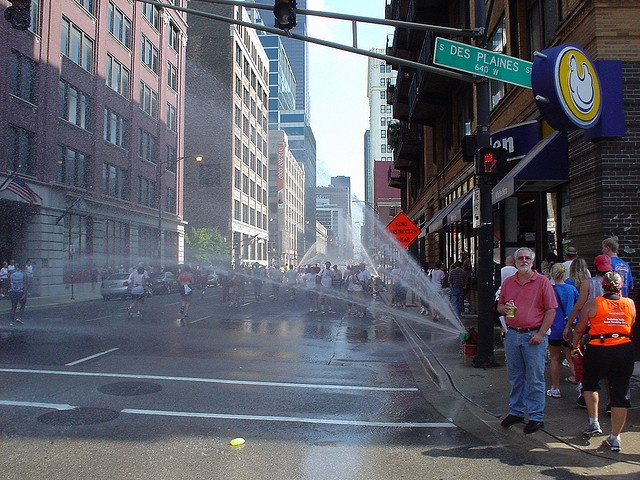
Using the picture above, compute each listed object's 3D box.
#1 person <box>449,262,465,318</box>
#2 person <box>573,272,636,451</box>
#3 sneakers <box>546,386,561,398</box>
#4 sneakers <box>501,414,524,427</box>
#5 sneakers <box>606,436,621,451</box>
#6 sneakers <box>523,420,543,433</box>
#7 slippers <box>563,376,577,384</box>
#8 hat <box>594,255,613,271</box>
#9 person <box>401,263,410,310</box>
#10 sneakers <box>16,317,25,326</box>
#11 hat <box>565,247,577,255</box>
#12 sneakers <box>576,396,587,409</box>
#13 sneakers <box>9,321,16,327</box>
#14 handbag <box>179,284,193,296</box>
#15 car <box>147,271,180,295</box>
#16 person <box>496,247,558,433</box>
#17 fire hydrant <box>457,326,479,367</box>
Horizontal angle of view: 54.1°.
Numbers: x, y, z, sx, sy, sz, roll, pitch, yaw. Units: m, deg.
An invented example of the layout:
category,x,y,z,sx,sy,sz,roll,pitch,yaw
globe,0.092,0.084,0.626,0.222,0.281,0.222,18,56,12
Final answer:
category,x,y,z,sx,sy,sz,roll,pitch,yaw
person,4.420,1.598,20.110,0.538,1.825,0.589,1,4,8
person,4.175,1.723,9.127,0.698,2.467,0.662,2,4,23
sneakers,4.075,2.646,10.953,0.111,0.128,0.277,0,2,0
sneakers,2.954,2.774,9.649,0.450,0.190,0.149,3,-7,-28
sneakers,4.192,2.863,8.965,0.205,0.213,0.253,2,4,23
sneakers,3.237,2.788,9.461,0.384,0.196,0.131,-1,4,-25
slippers,4.710,2.620,11.810,0.235,0.113,0.096,0,-3,26
hat,4.461,0.386,9.863,0.226,0.271,0.526,2,4,23
person,3.579,2.131,26.556,0.271,1.599,0.896,1,4,8
sneakers,-9.219,2.525,19.336,0.352,0.109,0.204,24,42,34
hat,4.838,0.209,12.047,0.151,0.158,0.202,4,-16,10
sneakers,4.304,2.652,10.324,0.138,0.184,0.424,0,0,23
sneakers,-9.240,2.536,18.879,0.266,0.188,0.097,0,-8,18
handbag,-4.605,1.739,21.738,0.283,0.390,0.198,-1,4,-20
car,-9.002,2.507,36.207,1.239,0.983,2.978,0,0,6
person,3.139,1.513,9.662,0.796,2.711,0.679,3,5,35
fire hydrant,3.219,2.272,13.542,0.330,0.668,1.191,1,4,13
